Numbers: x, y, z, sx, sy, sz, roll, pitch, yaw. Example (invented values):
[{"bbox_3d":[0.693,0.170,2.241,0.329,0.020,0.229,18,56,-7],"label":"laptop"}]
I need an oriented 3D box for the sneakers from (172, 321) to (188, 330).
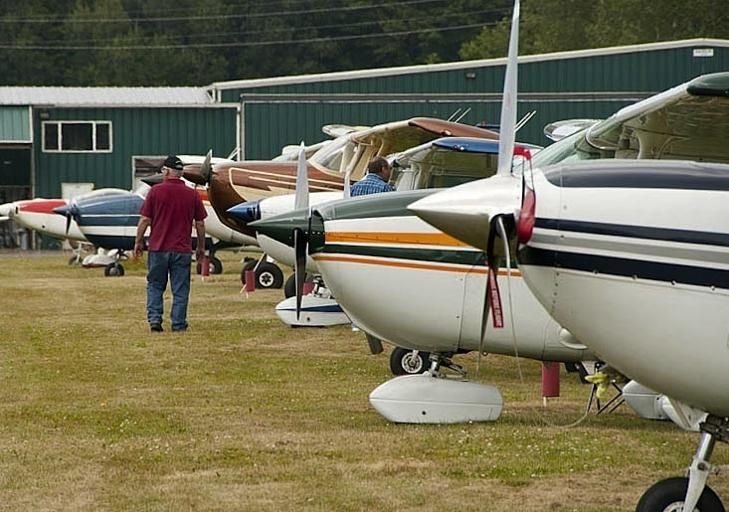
[{"bbox_3d":[-3.020,1.140,23.209,0.204,0.178,0.150,5,-5,-2],"label":"sneakers"}]

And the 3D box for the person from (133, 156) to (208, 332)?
[{"bbox_3d":[-3.199,-0.192,23.329,0.816,2.809,0.863,5,7,29],"label":"person"}]

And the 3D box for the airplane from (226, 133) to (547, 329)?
[{"bbox_3d":[0.065,-0.703,23.252,3.762,1.837,3.991,0,2,-12],"label":"airplane"}]

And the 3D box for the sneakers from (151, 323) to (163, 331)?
[{"bbox_3d":[-3.395,1.164,23.193,0.197,0.137,0.144,-1,6,-13],"label":"sneakers"}]

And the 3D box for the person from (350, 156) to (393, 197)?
[{"bbox_3d":[0.127,-1.212,22.055,0.591,0.625,1.064,8,7,-19],"label":"person"}]
